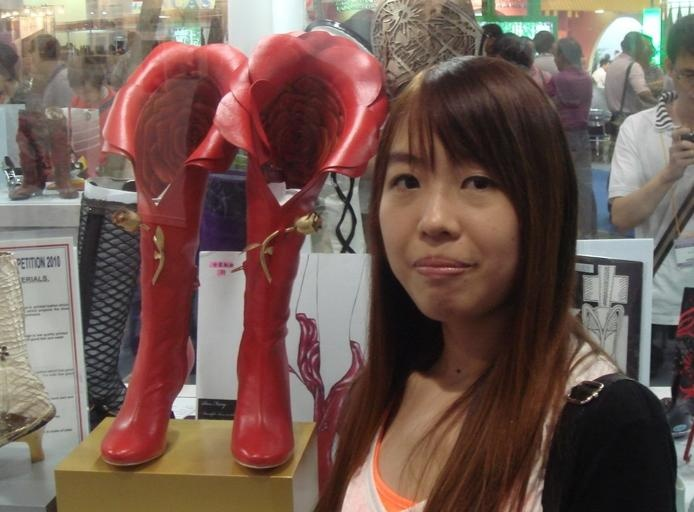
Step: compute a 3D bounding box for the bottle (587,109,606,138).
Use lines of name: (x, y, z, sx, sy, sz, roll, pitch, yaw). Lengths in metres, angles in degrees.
bottle: (0.484, -0.254, 1.189, 0.042, 0.044, 0.033, 6, -15, 2)
